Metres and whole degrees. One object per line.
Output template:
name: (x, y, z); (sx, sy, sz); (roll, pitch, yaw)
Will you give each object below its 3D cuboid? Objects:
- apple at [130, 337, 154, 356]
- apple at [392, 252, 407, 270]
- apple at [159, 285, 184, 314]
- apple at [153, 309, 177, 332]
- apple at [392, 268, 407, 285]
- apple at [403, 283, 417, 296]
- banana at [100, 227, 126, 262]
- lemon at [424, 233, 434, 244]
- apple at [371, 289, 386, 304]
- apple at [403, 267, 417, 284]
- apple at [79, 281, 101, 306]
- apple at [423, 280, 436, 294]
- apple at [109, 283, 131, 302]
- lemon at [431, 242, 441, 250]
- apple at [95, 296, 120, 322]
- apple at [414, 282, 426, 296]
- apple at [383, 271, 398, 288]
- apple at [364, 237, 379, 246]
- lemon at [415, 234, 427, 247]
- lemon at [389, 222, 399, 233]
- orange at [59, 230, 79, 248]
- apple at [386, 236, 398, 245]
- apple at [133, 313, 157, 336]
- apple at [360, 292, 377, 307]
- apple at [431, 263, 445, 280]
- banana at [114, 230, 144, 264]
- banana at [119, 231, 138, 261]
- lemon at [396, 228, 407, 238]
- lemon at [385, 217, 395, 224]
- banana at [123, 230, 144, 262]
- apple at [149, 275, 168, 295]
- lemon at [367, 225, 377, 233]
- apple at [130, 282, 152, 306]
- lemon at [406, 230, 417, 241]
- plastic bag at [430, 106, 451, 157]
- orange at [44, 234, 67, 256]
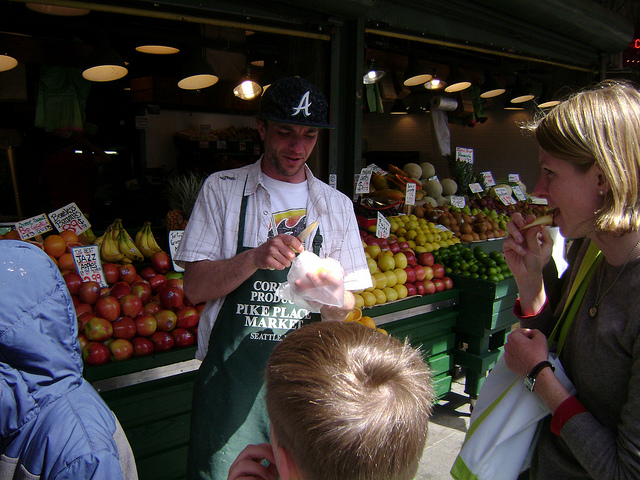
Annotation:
apple: (-1.029, 0.610, 2.657); (0.082, 0.096, 0.093); (24, -6, -21)
apple: (0.652, 0.163, 3.748); (0.106, 0.120, 0.138); (6, 40, -10)
apple: (-0.932, 0.357, 2.931); (0.130, 0.155, 0.173); (-19, 34, -14)
apple: (-0.936, 0.487, 2.829); (0.143, 0.126, 0.122); (-8, -25, 42)
apple: (0.644, 0.281, 3.660); (0.107, 0.139, 0.114); (1, -18, -13)
apple: (0.719, 0.392, 3.674); (0.078, 0.106, 0.084); (-1, 5, 4)
banana: (-1.587, 0.034, 3.535); (0.069, 0.126, 0.349); (20, 31, -29)
lemon: (1.018, -0.030, 4.364); (0.075, 0.090, 0.075); (-36, 59, -28)
apple: (0.432, 0.420, 3.423); (0.089, 0.116, 0.096); (1, -20, -8)
apple: (0.723, 0.293, 3.803); (0.104, 0.140, 0.112); (1, -21, -2)
apple: (-1.440, 0.331, 2.877); (0.114, 0.156, 0.131); (0, -17, 4)
apple: (0.906, 0.390, 3.860); (0.090, 0.120, 0.096); (6, -30, -19)
apple: (-1.268, 0.311, 2.915); (0.088, 0.095, 0.117); (-22, 40, -13)
lemon: (1.091, 0.045, 4.341); (0.060, 0.079, 0.065); (-7, 8, 2)
apple: (-1.248, 0.403, 2.705); (0.122, 0.146, 0.124); (-4, 1, -22)
apple: (0.813, 0.386, 3.734); (0.086, 0.113, 0.093); (2, -29, -5)
apple: (0.553, 0.299, 3.580); (0.094, 0.121, 0.099); (4, -13, -16)
apple: (0.428, 0.005, 3.861); (0.064, 0.082, 0.067); (1, 8, -15)
lemon: (0.936, -0.004, 4.272); (0.084, 0.107, 0.095); (-8, -30, 11)
lemon: (0.709, -0.130, 4.477); (0.082, 0.109, 0.089); (2, -15, -8)
orange: (-1.829, -0.031, 3.388); (0.112, 0.108, 0.104); (6, 32, 18)
apple: (0.634, -0.003, 4.051); (0.062, 0.066, 0.066); (0, -3, -1)
apple: (-1.029, 0.489, 2.741); (0.134, 0.122, 0.111); (-15, 21, -42)
apple: (0.355, 0.427, 3.398); (0.088, 0.113, 0.094); (4, -23, -11)
apple: (1.011, 0.253, 3.954); (0.105, 0.113, 0.102); (-12, 18, -36)
banana: (-1.487, 0.036, 3.583); (0.142, 0.239, 0.123); (-43, -3, -31)
banana: (-1.498, 0.075, 3.554); (0.062, 0.303, 0.111); (-18, -13, -12)
lemon: (0.777, -0.081, 4.405); (0.071, 0.095, 0.076); (-12, 24, 3)
lemon: (0.674, -0.209, 4.499); (0.061, 0.052, 0.065); (-1, 15, 18)
banana: (-1.474, 0.052, 3.633); (0.043, 0.241, 0.088); (-23, -9, -30)
apple: (-1.115, 0.301, 3.220); (0.106, 0.106, 0.111); (-35, -18, -10)
lemon: (0.487, -0.100, 4.206); (0.051, 0.058, 0.064); (7, -5, 7)
apple: (-1.147, 0.323, 3.002); (0.118, 0.123, 0.147); (-40, 32, -11)
lemon: (0.857, -0.048, 4.365); (0.079, 0.102, 0.088); (13, -46, -17)
plastic bag: (1.648, -1.465, 6.181); (0.240, 0.613, 0.569); (7, 14, 31)
orange: (-1.815, 0.035, 3.152); (0.089, 0.115, 0.095); (10, 21, 8)
